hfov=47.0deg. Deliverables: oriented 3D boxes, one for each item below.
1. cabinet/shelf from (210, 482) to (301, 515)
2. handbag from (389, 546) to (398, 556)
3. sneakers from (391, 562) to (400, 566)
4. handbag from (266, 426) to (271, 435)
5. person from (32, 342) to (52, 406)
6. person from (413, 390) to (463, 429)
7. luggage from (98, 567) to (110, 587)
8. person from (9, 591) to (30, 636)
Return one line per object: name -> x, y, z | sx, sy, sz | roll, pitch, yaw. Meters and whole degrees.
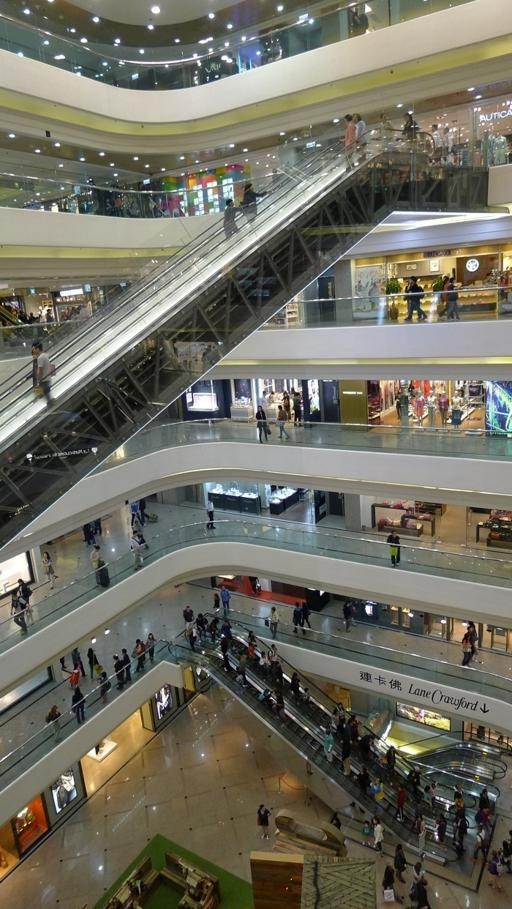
cabinet/shelf -> -0.108, 1.549, 20.974 | 3.031, 0.997, 1.572 | -3, 7, 9
handbag -> 3.383, 2.387, 14.497 | 0.162, 0.198, 0.144 | 2, 4, 15
sneakers -> 3.467, 2.729, 14.581 | 0.090, 0.107, 0.174 | -5, -7, 20
handbag -> 0.349, -0.672, 16.347 | 0.070, 0.305, 0.101 | -4, 6, -9
person -> -2.633, -0.962, 7.279 | 0.243, 0.632, 0.946 | -5, 7, -19
person -> 4.316, -1.066, 14.097 | 0.971, 1.021, 0.246 | 0, -2, 28
luggage -> -3.727, 3.030, 14.482 | 0.114, 0.553, 0.406 | -1, 7, 18
person -> -5.060, 3.441, 12.595 | 0.287, 0.554, 1.312 | -6, 7, -24
